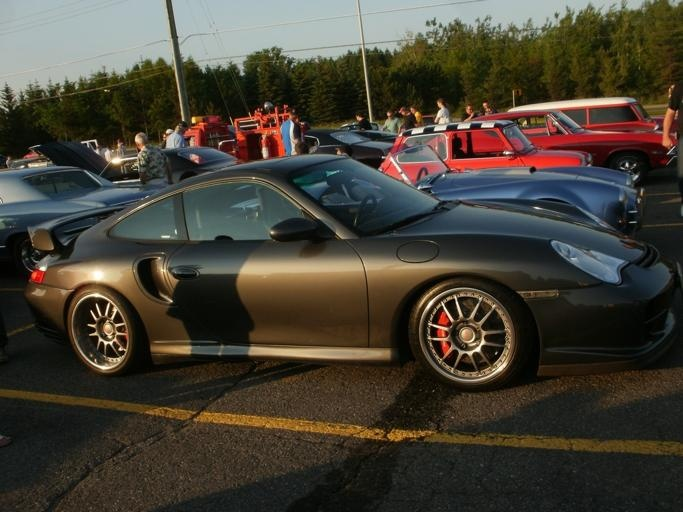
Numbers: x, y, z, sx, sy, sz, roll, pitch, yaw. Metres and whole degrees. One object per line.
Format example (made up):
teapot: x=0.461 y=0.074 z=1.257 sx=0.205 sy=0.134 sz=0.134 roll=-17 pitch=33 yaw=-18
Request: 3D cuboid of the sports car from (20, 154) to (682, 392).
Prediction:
sports car: x=-0.097 y=0.133 z=3.993 sx=4.861 sy=1.725 sz=0.723 roll=-2 pitch=18 yaw=17
